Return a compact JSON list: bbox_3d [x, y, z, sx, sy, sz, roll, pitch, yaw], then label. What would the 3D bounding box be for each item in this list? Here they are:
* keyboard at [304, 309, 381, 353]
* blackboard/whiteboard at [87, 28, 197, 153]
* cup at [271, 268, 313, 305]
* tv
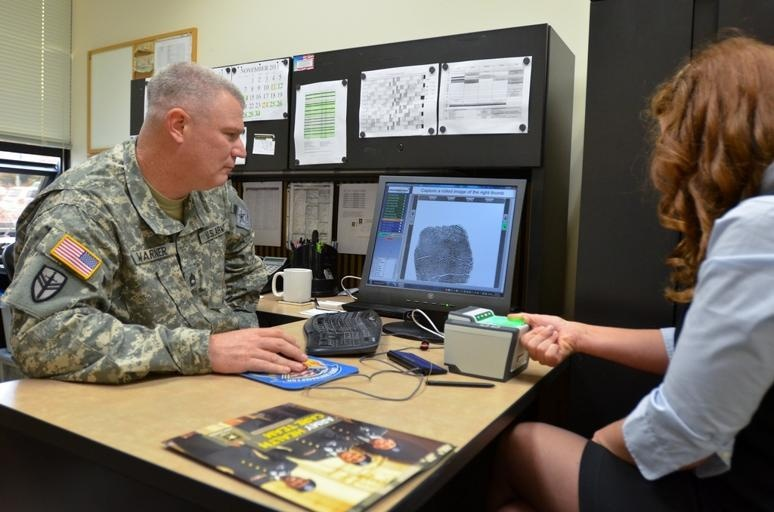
[{"bbox_3d":[-0.154,0.216,1.785,0.188,0.033,0.289,-5,26,-20],"label":"keyboard"},{"bbox_3d":[-1.635,-1.061,3.576,0.972,0.724,0.024,0,-3,23],"label":"blackboard/whiteboard"},{"bbox_3d":[-0.405,0.131,2.320,0.200,0.141,0.134,0,-3,20],"label":"cup"},{"bbox_3d":[0.152,0.006,1.835,0.537,0.513,0.314,5,6,25],"label":"tv"}]
